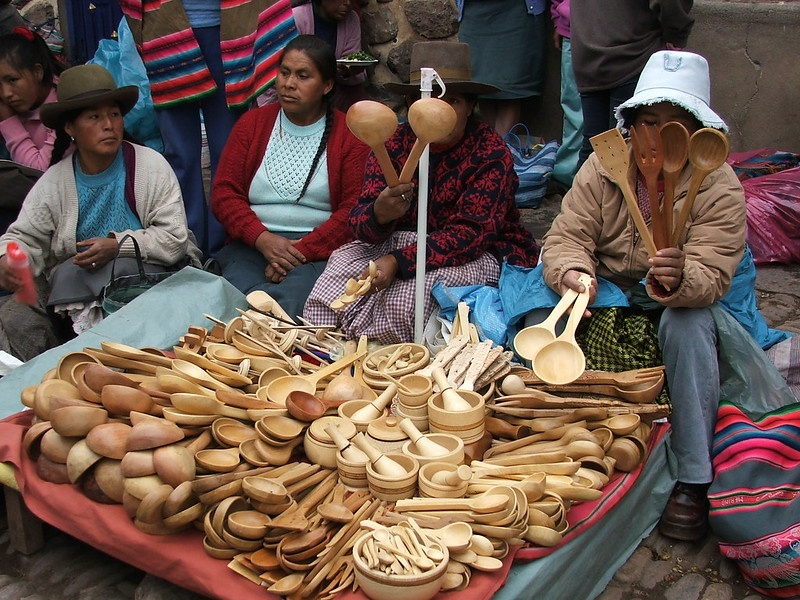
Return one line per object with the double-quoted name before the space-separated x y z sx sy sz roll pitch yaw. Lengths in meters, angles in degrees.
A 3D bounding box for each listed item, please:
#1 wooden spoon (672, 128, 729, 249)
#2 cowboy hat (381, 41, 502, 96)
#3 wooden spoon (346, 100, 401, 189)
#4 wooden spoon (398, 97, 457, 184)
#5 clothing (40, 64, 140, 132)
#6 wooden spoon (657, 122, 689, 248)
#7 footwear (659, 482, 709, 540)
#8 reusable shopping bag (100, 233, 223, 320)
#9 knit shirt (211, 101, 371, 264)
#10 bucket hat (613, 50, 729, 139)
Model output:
"wooden spoon" 1.088 -0.391 2.511 0.126 0.512 0.071 34 38 29
"cowboy hat" 0.249 -1.070 3.211 0.446 0.188 0.402 6 12 23
"wooden spoon" -0.068 -0.587 2.507 0.162 0.328 0.131 -3 36 23
"wooden spoon" 0.098 -0.593 2.509 0.171 0.377 0.291 -13 30 -11
"clothing" -1.636 -1.024 3.474 0.411 0.164 0.366 -26 4 5
"wooden spoon" 1.038 -0.425 2.484 0.096 0.515 0.073 0 -4 20
"footwear" 1.128 0.840 2.608 0.107 0.136 0.291 6 15 26
"reusable shopping bag" -1.308 -0.124 3.511 0.488 0.512 0.318 -14 14 -13
"knit shirt" -0.590 -0.652 3.749 0.775 0.800 0.466 9 15 4
"bucket hat" 1.124 -0.881 2.676 0.382 0.266 0.441 12 21 18
